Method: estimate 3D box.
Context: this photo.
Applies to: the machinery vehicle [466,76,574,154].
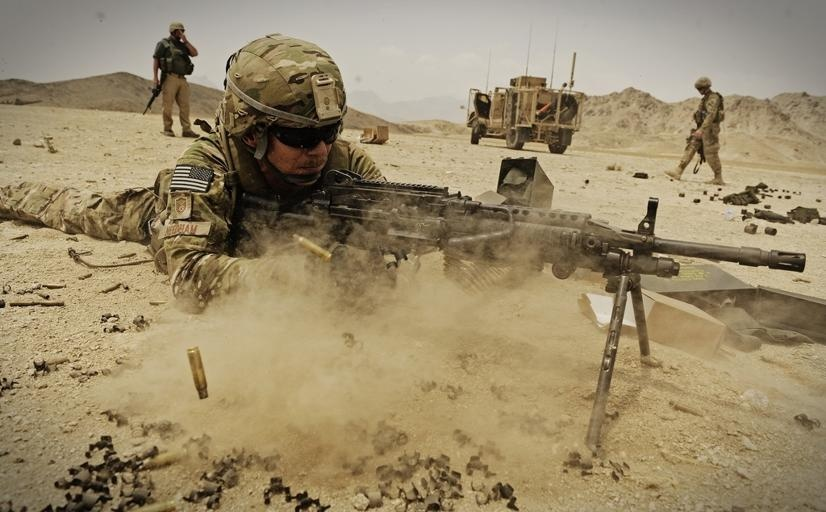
[{"bbox_3d":[3.915,-4.941,19.166,2.636,2.179,4.363,-2,15,-20],"label":"machinery vehicle"}]
